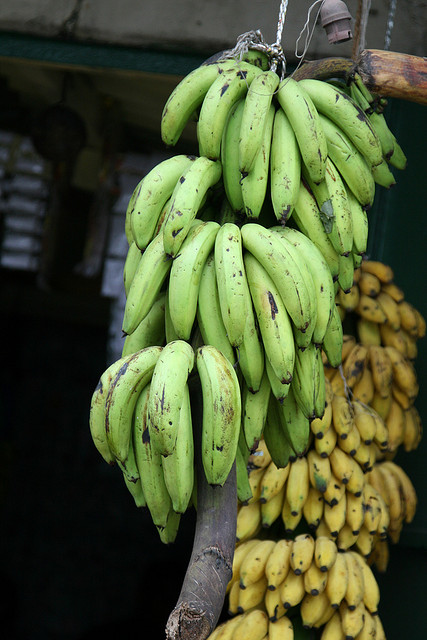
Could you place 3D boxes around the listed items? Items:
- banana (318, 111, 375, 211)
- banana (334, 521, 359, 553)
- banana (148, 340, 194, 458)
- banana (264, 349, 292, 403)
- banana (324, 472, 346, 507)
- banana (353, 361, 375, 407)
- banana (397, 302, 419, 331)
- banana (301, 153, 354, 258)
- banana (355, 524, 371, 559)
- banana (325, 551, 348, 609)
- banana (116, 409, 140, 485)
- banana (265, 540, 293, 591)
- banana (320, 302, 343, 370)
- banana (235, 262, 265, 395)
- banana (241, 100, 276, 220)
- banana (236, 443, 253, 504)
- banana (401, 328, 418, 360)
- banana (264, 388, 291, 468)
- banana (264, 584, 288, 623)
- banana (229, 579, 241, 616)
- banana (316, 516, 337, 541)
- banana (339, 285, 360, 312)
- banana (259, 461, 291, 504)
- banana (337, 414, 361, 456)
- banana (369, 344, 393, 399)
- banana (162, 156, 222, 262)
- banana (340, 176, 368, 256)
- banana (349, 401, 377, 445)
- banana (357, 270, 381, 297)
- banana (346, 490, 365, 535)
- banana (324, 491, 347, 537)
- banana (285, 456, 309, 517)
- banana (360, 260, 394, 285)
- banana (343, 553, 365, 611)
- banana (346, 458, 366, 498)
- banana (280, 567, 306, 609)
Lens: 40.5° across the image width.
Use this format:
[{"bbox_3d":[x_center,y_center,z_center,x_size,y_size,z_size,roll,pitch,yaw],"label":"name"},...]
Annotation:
[{"bbox_3d":[0.293,-0.315,1.236,0.065,0.074,0.258,-33,109,-43],"label":"banana"},{"bbox_3d":[0.402,0.646,1.747,0.051,0.030,0.101,9,80,10],"label":"banana"},{"bbox_3d":[-0.067,0.121,0.946,0.058,0.062,0.226,3,53,6],"label":"banana"},{"bbox_3d":[0.110,0.103,1.095,0.027,0.034,0.112,-26,75,32],"label":"banana"},{"bbox_3d":[0.356,0.508,1.725,0.041,0.032,0.097,14,47,-1],"label":"banana"},{"bbox_3d":[0.512,0.212,2.005,0.035,0.045,0.153,10,92,-18],"label":"banana"},{"bbox_3d":[0.694,-0.014,2.110,0.051,0.036,0.114,18,43,-29],"label":"banana"},{"bbox_3d":[0.219,-0.224,1.141,0.061,0.050,0.206,-25,74,-3],"label":"banana"},{"bbox_3d":[0.460,0.686,1.787,0.034,0.031,0.120,-13,77,25],"label":"banana"},{"bbox_3d":[0.352,0.727,1.659,0.045,0.043,0.163,27,40,-4],"label":"banana"},{"bbox_3d":[-0.153,0.227,1.060,0.027,0.046,0.151,3,93,-6],"label":"banana"},{"bbox_3d":[0.185,0.700,1.666,0.044,0.049,0.165,2,31,15],"label":"banana"},{"bbox_3d":[0.250,0.037,1.233,0.037,0.040,0.158,-8,93,-38],"label":"banana"},{"bbox_3d":[0.065,0.009,1.048,0.038,0.038,0.246,-4,84,6],"label":"banana"},{"bbox_3d":[0.080,-0.305,1.096,0.041,0.039,0.246,9,70,-15],"label":"banana"},{"bbox_3d":[0.065,0.315,1.179,0.027,0.136,0.040,1,29,9],"label":"banana"},{"bbox_3d":[0.717,0.085,2.146,0.026,0.031,0.108,-26,95,-43],"label":"banana"},{"bbox_3d":[0.134,0.243,1.291,0.058,0.047,0.200,-12,96,-36],"label":"banana"},{"bbox_3d":[0.176,0.813,1.656,0.031,0.050,0.101,33,42,-30],"label":"banana"},{"bbox_3d":[0.063,0.857,1.785,0.029,0.036,0.124,10,75,-19],"label":"banana"},{"bbox_3d":[0.342,0.647,1.783,0.027,0.025,0.089,-46,41,20],"label":"banana"},{"bbox_3d":[0.457,-0.071,1.940,0.056,0.044,0.129,9,36,3],"label":"banana"},{"bbox_3d":[0.193,0.482,1.819,0.052,0.058,0.180,25,54,-1],"label":"banana"},{"bbox_3d":[0.407,0.342,1.823,0.040,0.062,0.165,12,24,8],"label":"banana"},{"bbox_3d":[0.565,0.161,2.034,0.056,0.066,0.216,8,60,-25],"label":"banana"},{"bbox_3d":[-0.029,-0.243,1.108,0.054,0.072,0.279,36,54,-29],"label":"banana"},{"bbox_3d":[0.300,-0.203,1.214,0.039,0.059,0.201,-9,97,-6],"label":"banana"},{"bbox_3d":[0.473,0.323,1.876,0.055,0.072,0.207,-17,27,5],"label":"banana"},{"bbox_3d":[0.536,-0.128,2.008,0.047,0.053,0.102,6,17,-4],"label":"banana"},{"bbox_3d":[0.421,0.575,1.733,0.035,0.040,0.139,15,54,-9],"label":"banana"},{"bbox_3d":[0.356,0.578,1.708,0.041,0.039,0.145,36,47,-21],"label":"banana"},{"bbox_3d":[0.257,0.507,1.778,0.065,0.076,0.225,4,31,13],"label":"banana"},{"bbox_3d":[0.581,-0.171,2.091,0.050,0.082,0.143,-29,39,-25],"label":"banana"},{"bbox_3d":[0.400,0.749,1.675,0.040,0.043,0.149,15,44,-17],"label":"banana"},{"bbox_3d":[0.437,0.495,1.785,0.035,0.040,0.130,27,48,-21],"label":"banana"},{"bbox_3d":[0.228,0.775,1.681,0.076,0.170,0.064,-2,100,13],"label":"banana"}]
